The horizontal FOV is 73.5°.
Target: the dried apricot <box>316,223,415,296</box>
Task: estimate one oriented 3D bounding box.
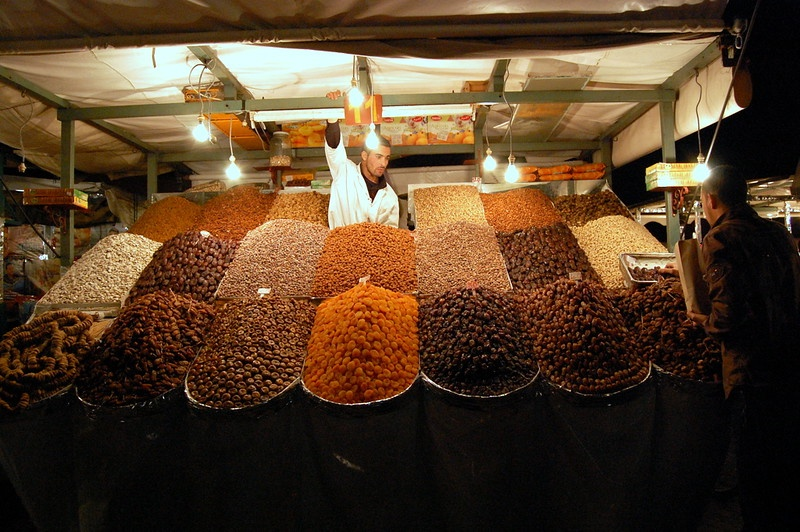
[{"bbox_3d":[-0.271,-0.072,4.628,0.690,0.209,0.670,1,36,-3],"label":"dried apricot"}]

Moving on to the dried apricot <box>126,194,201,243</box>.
[{"bbox_3d":[-2.620,-0.547,6.304,0.794,0.710,0.644,1,7,28],"label":"dried apricot"}]

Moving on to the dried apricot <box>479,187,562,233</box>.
[{"bbox_3d":[1.268,-0.634,5.976,0.942,0.528,0.729,-4,10,-21],"label":"dried apricot"}]

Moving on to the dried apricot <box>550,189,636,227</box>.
[{"bbox_3d":[2.186,-0.681,6.285,0.917,0.414,0.838,3,12,8],"label":"dried apricot"}]

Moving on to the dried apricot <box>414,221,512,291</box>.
[{"bbox_3d":[0.504,-0.037,4.681,0.637,0.154,0.617,-5,44,1],"label":"dried apricot"}]
